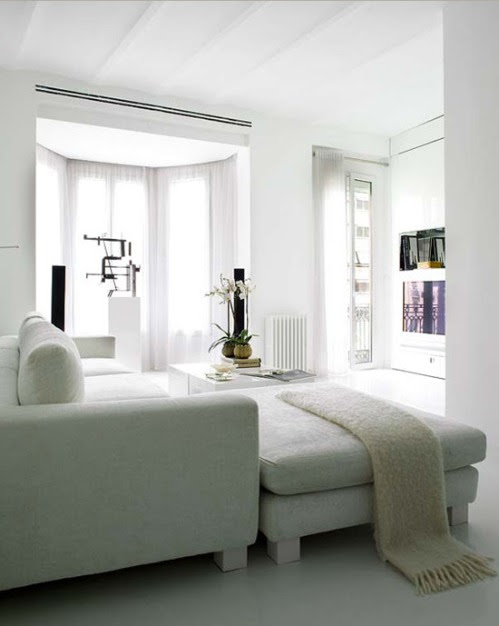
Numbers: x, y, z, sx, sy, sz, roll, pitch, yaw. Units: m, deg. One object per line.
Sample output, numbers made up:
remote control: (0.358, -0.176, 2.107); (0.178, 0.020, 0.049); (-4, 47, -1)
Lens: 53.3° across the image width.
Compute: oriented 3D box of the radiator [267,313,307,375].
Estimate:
radiator: (0.456, 0.249, 5.581); (0.348, 0.769, 0.111); (3, 36, 10)

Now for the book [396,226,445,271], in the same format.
book: (2.066, -0.762, 6.012); (0.083, 0.575, 0.748); (-4, 13, -23)
